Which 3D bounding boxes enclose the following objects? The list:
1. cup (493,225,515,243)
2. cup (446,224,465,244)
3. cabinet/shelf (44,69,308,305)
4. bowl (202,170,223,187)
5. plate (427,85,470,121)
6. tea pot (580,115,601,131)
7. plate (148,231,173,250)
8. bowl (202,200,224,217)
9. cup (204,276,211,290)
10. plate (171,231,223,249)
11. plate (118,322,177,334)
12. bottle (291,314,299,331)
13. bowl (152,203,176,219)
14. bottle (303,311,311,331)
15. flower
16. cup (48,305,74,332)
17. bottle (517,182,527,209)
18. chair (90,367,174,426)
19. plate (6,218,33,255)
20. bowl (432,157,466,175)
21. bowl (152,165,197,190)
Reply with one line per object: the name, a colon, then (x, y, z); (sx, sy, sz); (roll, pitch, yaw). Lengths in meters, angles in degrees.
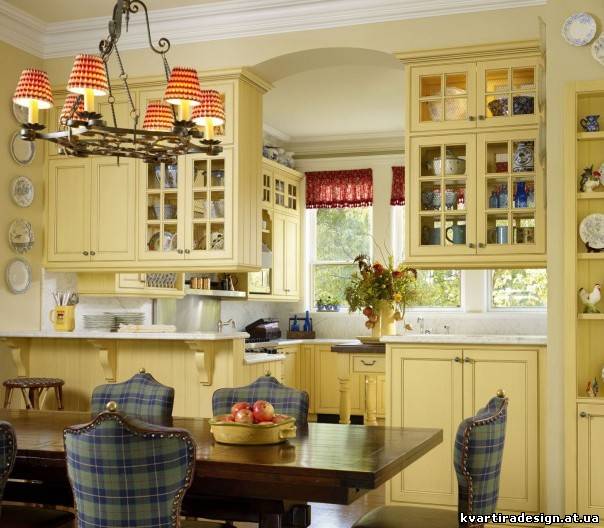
cup: (1.288, -0.191, 3.950); (0.131, 0.107, 0.094); (0, -1, 21)
cup: (1.026, -0.194, 4.024); (0.159, 0.143, 0.096); (0, 0, 19)
cabinet/shelf: (-1.048, -0.415, 5.557); (2.123, 1.450, 2.087); (0, -2, 7)
bowl: (-0.645, -0.606, 4.468); (0.122, 0.079, 0.118); (0, 3, 0)
plate: (0.977, -1.058, 4.141); (0.249, 0.222, 0.058); (1, 15, 14)
tea pot: (1.654, -0.792, 3.563); (0.133, 0.081, 0.080); (1, 2, 38)
plate: (-1.042, -0.167, 4.595); (0.231, 0.140, 0.030); (-1, -3, 16)
bowl: (-0.646, -0.386, 4.477); (0.133, 0.090, 0.128); (-1, -1, 0)
cup: (-1.002, 0.206, 6.462); (0.108, 0.168, 0.102); (0, 2, 0)
plate: (-0.721, -0.174, 4.487); (0.355, 0.179, 0.038); (-1, -3, 18)
plate: (-1.211, 0.488, 4.768); (0.220, 0.047, 0.222); (1, 1, 35)
bottle: (-0.097, 0.749, 7.999); (0.098, 0.194, 0.203); (0, -2, -3)
bowl: (-1.032, -0.389, 4.599); (0.202, 0.128, 0.046); (-1, -3, 26)
bottle: (0.069, 0.725, 7.916); (0.115, 0.249, 0.258); (0, -2, 0)
flower: (0.608, 0.230, 5.909); (0.425, 0.491, 0.476); (7, 2, 27)
cup: (-1.805, 0.405, 4.671); (0.226, 0.201, 0.145); (0, 0, -6)
bottle: (1.413, -0.443, 3.995); (0.066, 0.162, 0.020); (0, -3, 4)
chair: (-0.790, 0.649, 2.966); (0.457, 0.263, 0.148); (-3, -5, 24)
plate: (-2.134, -0.198, 4.642); (0.021, 0.253, 0.271); (-2, 5, 19)
bowl: (0.994, -0.637, 4.190); (0.147, 0.089, 0.139); (0, 4, 0)
bowl: (-1.011, -0.636, 4.652); (0.228, 0.149, 0.177); (-1, -4, 1)
